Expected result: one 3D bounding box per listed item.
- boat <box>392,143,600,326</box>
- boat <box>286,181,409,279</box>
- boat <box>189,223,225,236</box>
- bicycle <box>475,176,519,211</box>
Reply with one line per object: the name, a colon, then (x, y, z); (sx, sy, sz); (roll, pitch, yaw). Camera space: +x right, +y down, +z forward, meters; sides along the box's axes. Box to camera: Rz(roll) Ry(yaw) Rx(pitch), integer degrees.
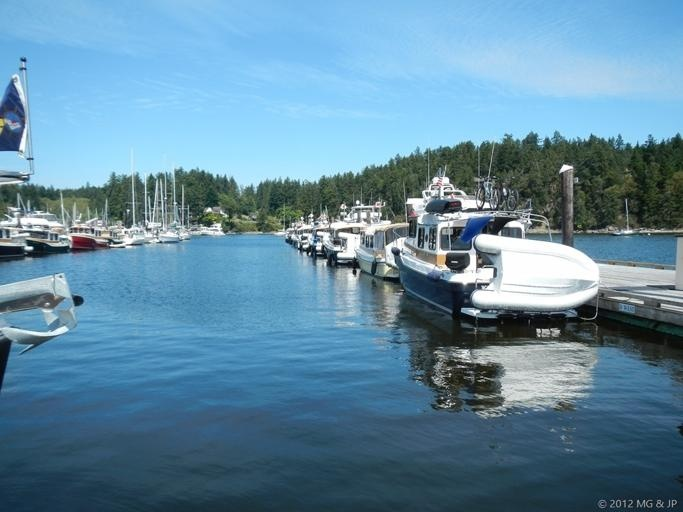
boat: (4.789, 0.049, 19.037); (3.671, 2.868, 7.389); (1, 5, -7)
boat: (1.996, -1.372, 42.906); (5.426, 5.034, 20.574); (1, 0, -17)
boat: (-38.646, -7.382, 165.369); (9.822, 3.021, 7.797); (2, 10, 13)
bicycle: (5.373, -2.012, 18.733); (0.860, 0.876, 1.797); (-4, 9, -16)
